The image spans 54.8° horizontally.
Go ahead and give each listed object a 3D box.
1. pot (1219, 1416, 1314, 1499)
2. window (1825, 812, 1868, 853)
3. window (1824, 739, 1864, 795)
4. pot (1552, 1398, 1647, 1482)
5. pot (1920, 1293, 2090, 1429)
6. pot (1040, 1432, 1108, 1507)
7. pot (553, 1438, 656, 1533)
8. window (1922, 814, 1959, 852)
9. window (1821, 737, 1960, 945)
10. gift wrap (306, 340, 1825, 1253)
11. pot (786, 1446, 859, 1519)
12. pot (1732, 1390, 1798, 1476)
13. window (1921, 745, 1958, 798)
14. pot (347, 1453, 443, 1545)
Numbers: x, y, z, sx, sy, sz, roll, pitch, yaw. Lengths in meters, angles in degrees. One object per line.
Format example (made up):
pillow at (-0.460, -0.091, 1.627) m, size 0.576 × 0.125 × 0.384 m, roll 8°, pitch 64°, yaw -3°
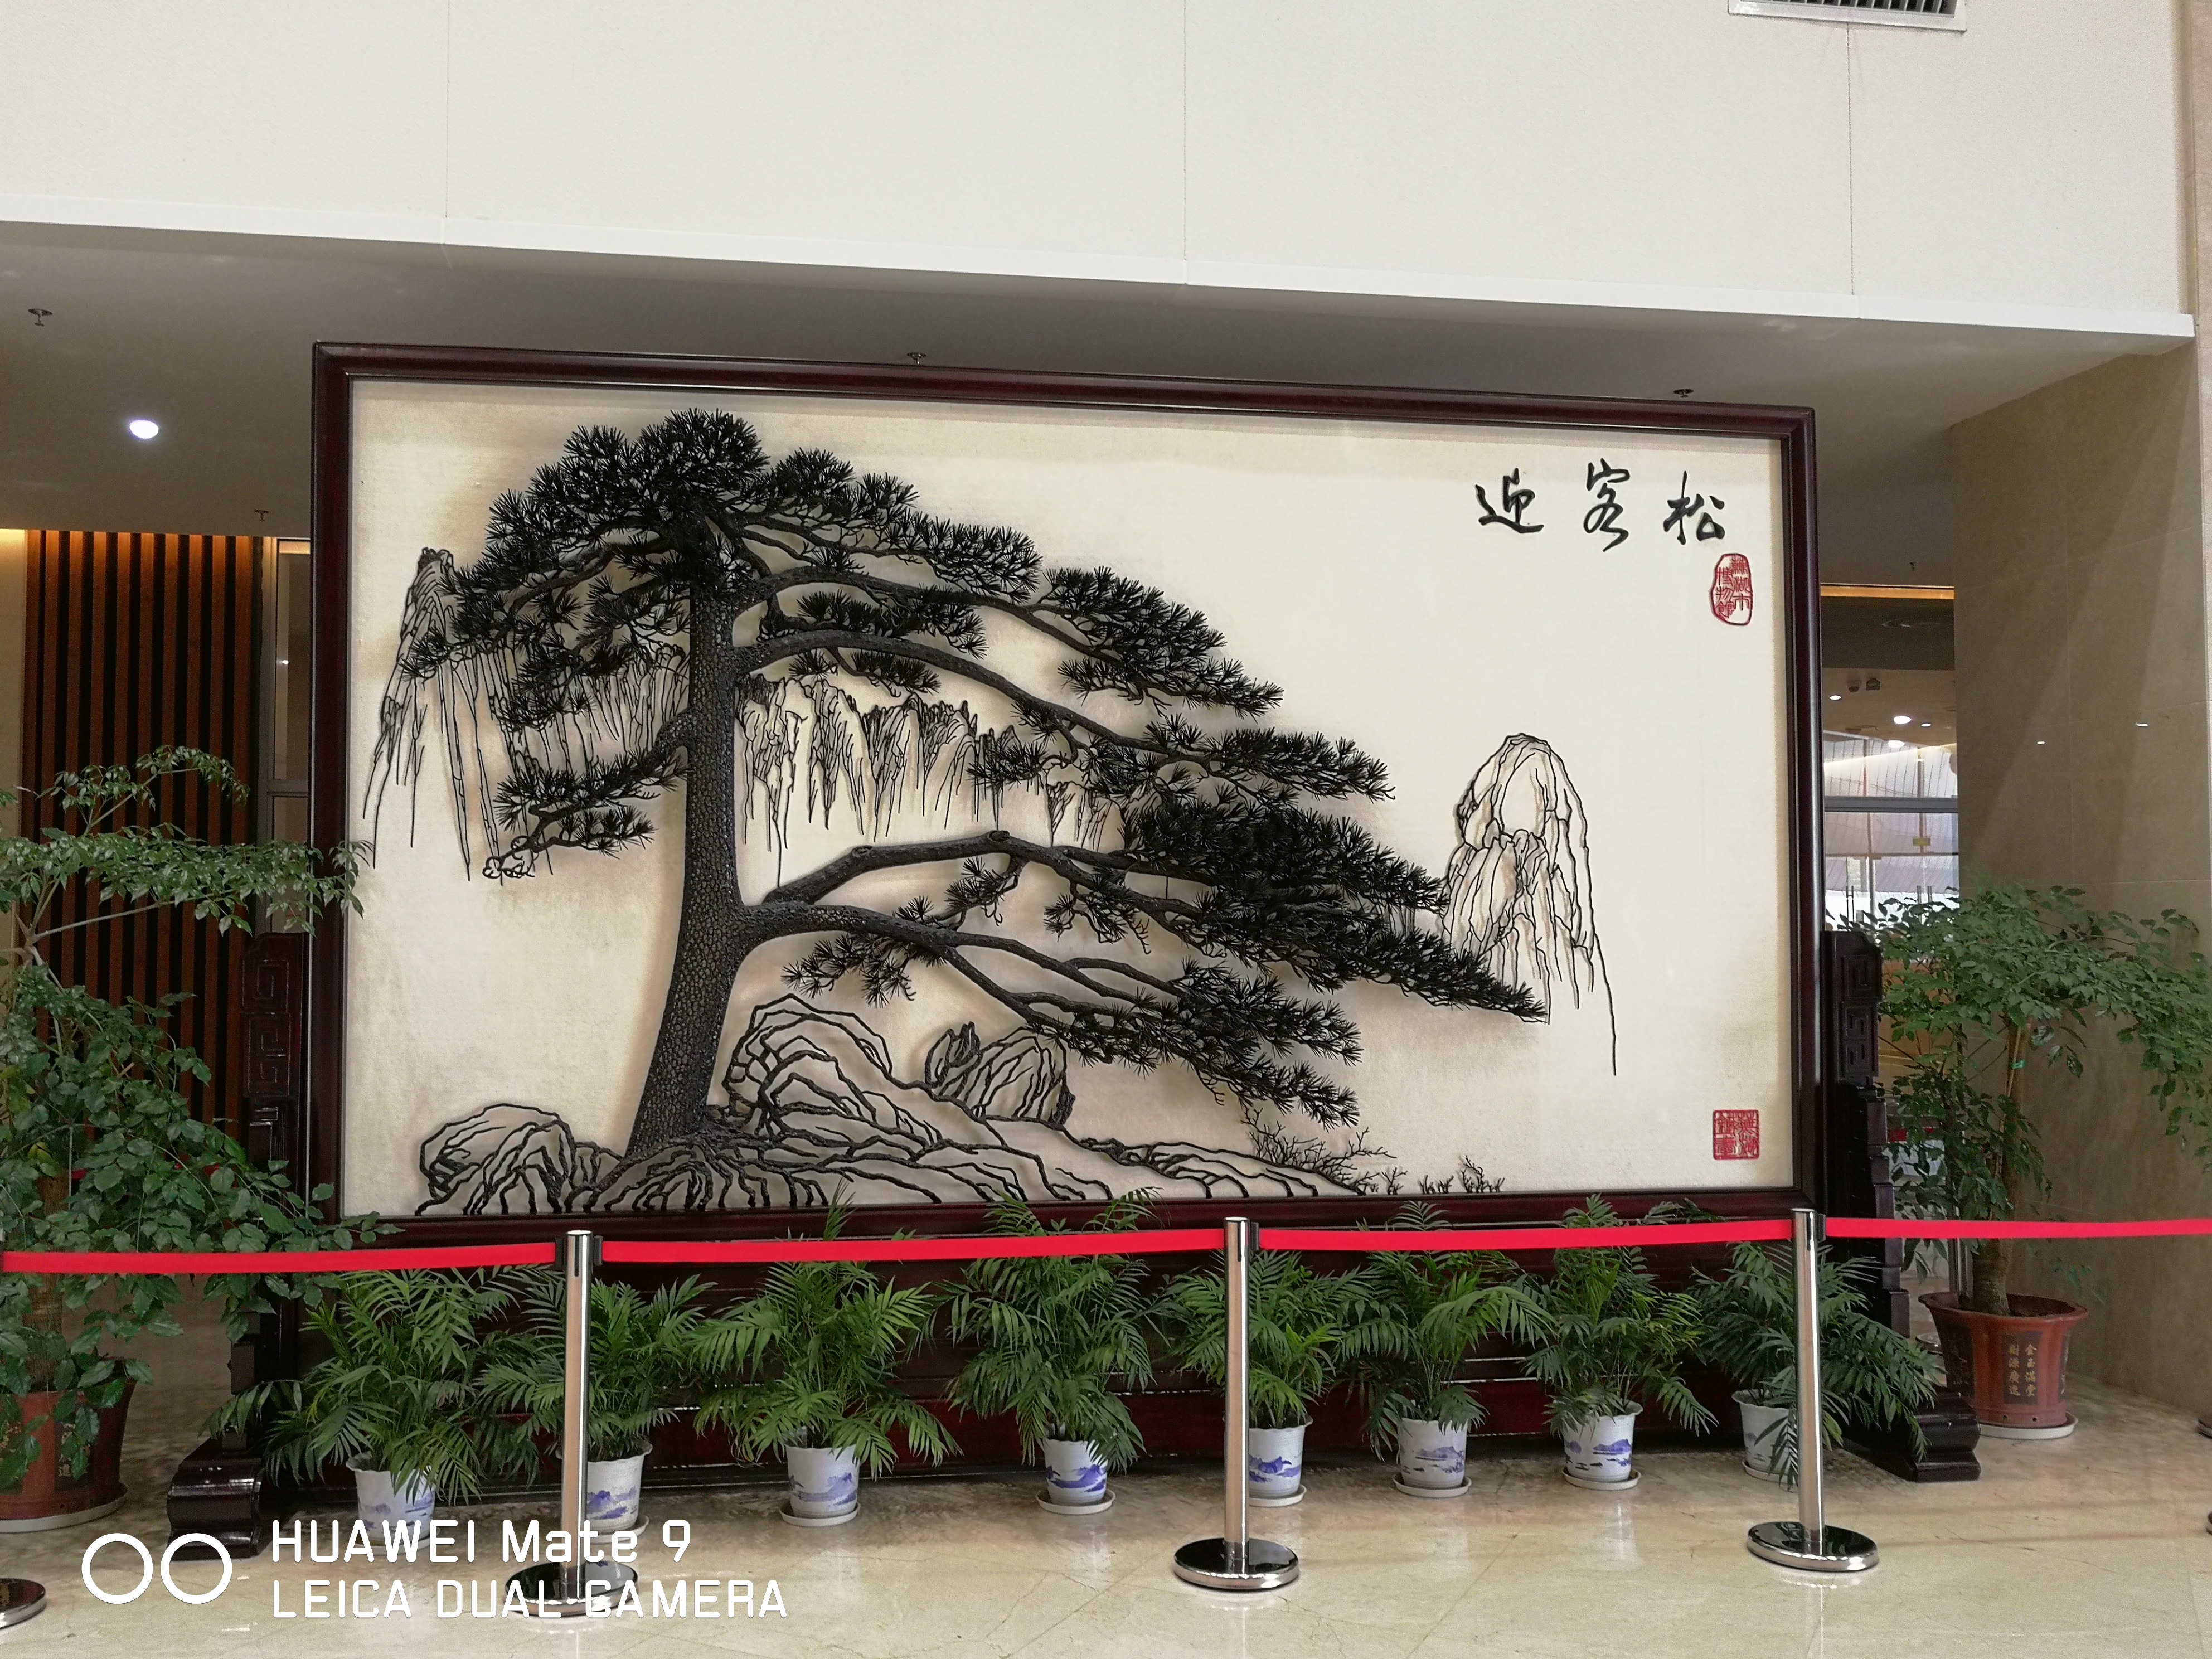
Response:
pot at (0.471, 1.843, 6.186) m, size 0.247 × 0.252 × 0.271 m, roll 0°, pitch -16°, yaw 0°
window at (3.676, 0.016, 10.621) m, size 0.186 × 0.223 × 0.022 m, roll 1°, pitch 6°, yaw 1°
window at (3.642, -0.293, 10.571) m, size 0.231 × 0.328 × 0.021 m, roll 1°, pitch -3°, yaw -4°
pot at (1.454, 1.823, 6.368) m, size 0.189 × 0.186 × 0.201 m, roll -1°, pitch -14°, yaw 0°
pot at (2.881, 1.651, 6.872) m, size 0.384 × 0.330 × 0.398 m, roll -1°, pitch -4°, yaw 0°
pot at (-0.097, 1.838, 6.113) m, size 0.170 × 0.219 × 0.193 m, roll 0°, pitch -9°, yaw -5°
pot at (-1.386, 1.857, 6.000) m, size 0.182 × 0.179 × 0.201 m, roll -1°, pitch -17°, yaw -2°
window at (4.059, 0.016, 10.432) m, size 0.190 × 0.229 × 0.021 m, roll 0°, pitch 1°, yaw -1°
window at (3.583, 0.022, 9.740) m, size 0.727 × 0.878 × 0.057 m, roll 0°, pitch 2°, yaw -1°
gift wrap at (-0.206, -0.104, 6.588) m, size 4.827 × 2.992 × 0.234 m, roll 0°, pitch -15°, yaw -2°
pot at (-0.801, 1.846, 6.044) m, size 0.180 × 0.190 × 0.210 m, roll 1°, pitch -9°, yaw -4°
pot at (1.948, 1.799, 6.375) m, size 0.183 × 0.210 × 0.193 m, roll -1°, pitch -6°, yaw 0°
window at (4.075, -0.268, 10.476) m, size 0.219 × 0.289 × 0.036 m, roll 0°, pitch -1°, yaw 3°
pot at (-1.983, 1.865, 5.946) m, size 0.186 × 0.159 × 0.203 m, roll 1°, pitch -14°, yaw 0°
